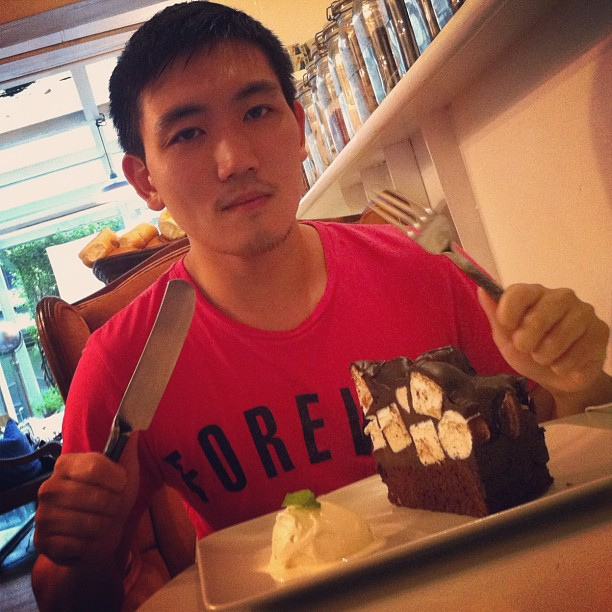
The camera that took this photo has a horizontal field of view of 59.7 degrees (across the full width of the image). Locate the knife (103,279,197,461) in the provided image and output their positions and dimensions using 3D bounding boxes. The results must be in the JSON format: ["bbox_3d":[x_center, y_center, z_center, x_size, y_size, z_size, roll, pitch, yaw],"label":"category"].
[{"bbox_3d":[-0.265,0.125,0.912,0.029,0.369,0.058,9,-16,47],"label":"knife"}]

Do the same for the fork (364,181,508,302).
[{"bbox_3d":[0.205,-0.101,0.795,0.054,0.054,0.396,-32,25,6],"label":"fork"}]

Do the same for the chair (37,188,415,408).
[{"bbox_3d":[-0.267,-0.045,1.460,0.625,0.361,0.810,-12,26,15],"label":"chair"}]

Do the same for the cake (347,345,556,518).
[{"bbox_3d":[0.190,0.171,0.736,0.134,0.202,0.253,-7,-7,-29],"label":"cake"}]
